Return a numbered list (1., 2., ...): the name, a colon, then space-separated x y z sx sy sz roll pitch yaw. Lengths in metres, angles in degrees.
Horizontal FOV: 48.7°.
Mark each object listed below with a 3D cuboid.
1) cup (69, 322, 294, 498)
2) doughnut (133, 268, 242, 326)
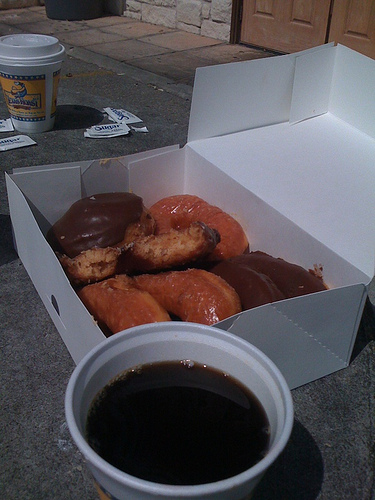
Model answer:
1. cup: -0.018 0.281 0.681 0.336 0.169 0.329 5 27 -2
2. doughnut: 0.002 0.128 1.211 0.151 0.083 0.272 -35 29 -31
